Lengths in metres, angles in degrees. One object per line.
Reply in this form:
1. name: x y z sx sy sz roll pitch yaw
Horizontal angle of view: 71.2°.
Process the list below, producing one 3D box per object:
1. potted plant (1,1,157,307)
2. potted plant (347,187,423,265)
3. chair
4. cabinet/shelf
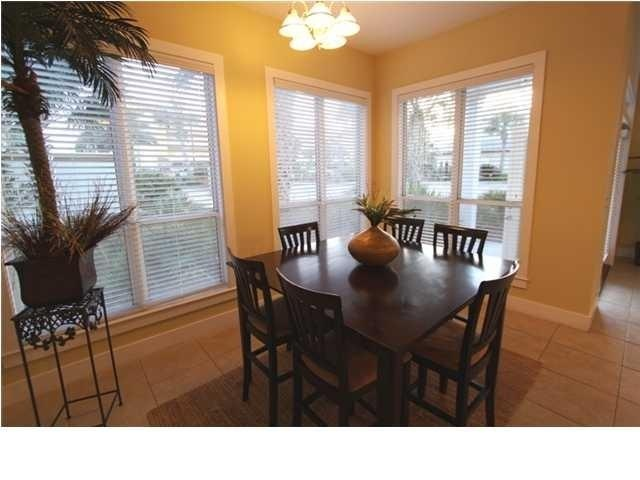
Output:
1. potted plant: -1.837 -0.945 3.406 0.915 1.757 0.685 -11 17 -39
2. potted plant: 0.385 -0.074 3.648 0.432 0.474 0.459 16 7 44
3. chair: 0.420 0.438 3.714 1.853 0.996 1.667 11 16 40
4. cabinet/shelf: -1.922 0.950 3.430 0.477 0.907 0.438 -11 7 -20
